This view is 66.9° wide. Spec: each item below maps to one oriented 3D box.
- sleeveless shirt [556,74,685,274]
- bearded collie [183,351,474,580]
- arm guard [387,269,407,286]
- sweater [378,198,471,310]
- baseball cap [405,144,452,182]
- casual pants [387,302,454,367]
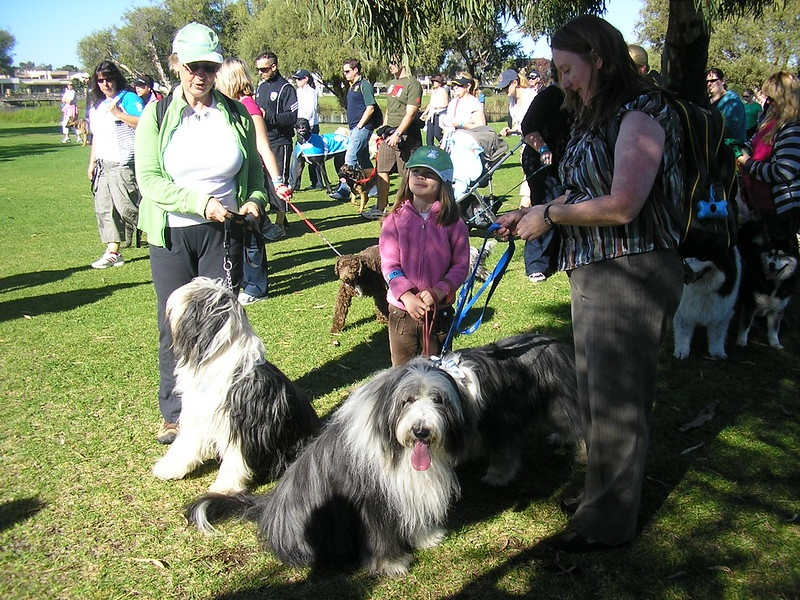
[{"bbox_3d":[1.133,-0.851,3.471,0.674,1.249,0.947,-1,23,14],"label":"sleeveless shirt"},{"bbox_3d":[-0.310,0.892,3.520,1.261,1.030,0.866,0,9,2],"label":"bearded collie"},{"bbox_3d":[-0.027,-0.154,3.972,0.117,0.082,0.084,-3,14,-7],"label":"arm guard"},{"bbox_3d":[0.163,-0.311,3.991,0.584,0.639,0.329,-2,14,-4],"label":"sweater"},{"bbox_3d":[0.190,-0.876,3.944,0.201,0.168,0.287,29,3,18],"label":"baseball cap"},{"bbox_3d":[0.137,0.211,3.926,0.322,0.647,0.220,-1,24,-4],"label":"casual pants"}]
